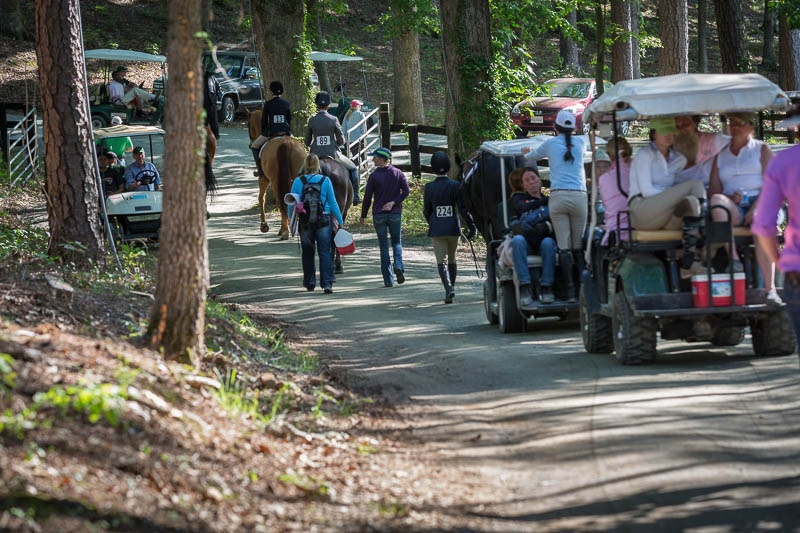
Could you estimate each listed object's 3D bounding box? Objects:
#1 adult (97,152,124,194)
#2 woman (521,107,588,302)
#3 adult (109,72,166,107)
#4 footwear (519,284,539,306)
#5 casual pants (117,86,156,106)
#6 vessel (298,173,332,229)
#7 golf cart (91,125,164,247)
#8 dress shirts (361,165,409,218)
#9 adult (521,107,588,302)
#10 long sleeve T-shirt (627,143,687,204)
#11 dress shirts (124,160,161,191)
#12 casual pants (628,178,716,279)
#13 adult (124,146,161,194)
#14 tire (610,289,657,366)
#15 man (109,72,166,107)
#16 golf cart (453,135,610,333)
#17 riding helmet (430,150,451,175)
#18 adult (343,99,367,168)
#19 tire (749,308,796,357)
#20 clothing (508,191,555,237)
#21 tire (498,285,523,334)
[{"bbox_3d":[-5.871,-1.848,23.036,0.619,0.953,0.548,-2,10,1],"label":"adult"},{"bbox_3d":[2.388,-0.856,16.765,0.994,2.941,1.296,0,-2,-27],"label":"woman"},{"bbox_3d":[-7.299,-4.902,31.493,1.422,1.116,0.629,4,16,13],"label":"adult"},{"bbox_3d":[1.796,0.397,16.123,0.240,0.304,0.191,-4,11,-10],"label":"footwear"},{"bbox_3d":[-7.187,-4.642,31.031,0.733,0.314,0.534,-6,4,-6],"label":"casual pants"},{"bbox_3d":[-1.471,-1.074,19.482,0.524,0.899,0.362,-3,11,-6],"label":"vessel"},{"bbox_3d":[-5.497,-1.634,23.519,1.286,2.289,4.374,-4,12,-12],"label":"golf cart"},{"bbox_3d":[-0.283,-1.322,20.024,0.771,0.854,0.608,-3,11,-3],"label":"dress shirts"},{"bbox_3d":[2.371,-0.846,16.815,1.050,2.912,1.284,0,-2,-39],"label":"adult"},{"bbox_3d":[3.124,-1.087,14.276,0.696,0.842,0.629,15,-8,-31],"label":"long sleeve T-shirt"},{"bbox_3d":[-5.228,-1.767,23.183,0.872,0.531,0.886,7,28,-16],"label":"dress shirts"},{"bbox_3d":[3.359,-0.572,14.289,1.072,1.443,0.767,2,2,20],"label":"casual pants"},{"bbox_3d":[-5.197,-1.769,23.226,0.681,1.313,0.676,-8,8,-25],"label":"adult"},{"bbox_3d":[2.861,0.746,13.947,0.320,0.806,0.781,-3,11,1],"label":"tire"},{"bbox_3d":[-7.279,-4.887,31.454,1.452,1.142,0.613,4,14,17],"label":"man"},{"bbox_3d":[1.616,-0.490,18.172,1.623,2.833,3.730,-3,17,-8],"label":"golf cart"},{"bbox_3d":[0.678,-1.833,19.498,0.323,0.448,0.448,0,44,1],"label":"riding helmet"},{"bbox_3d":[-1.387,-3.858,31.237,0.799,0.822,2.596,5,-32,-4],"label":"adult"},{"bbox_3d":[4.471,0.784,13.693,0.301,0.727,0.701,-3,0,5],"label":"tire"},{"bbox_3d":[1.862,-0.741,16.584,0.576,0.618,0.274,-4,-41,22],"label":"clothing"},{"bbox_3d":[1.604,0.629,16.650,0.224,0.633,0.607,-1,9,-5],"label":"tire"}]
